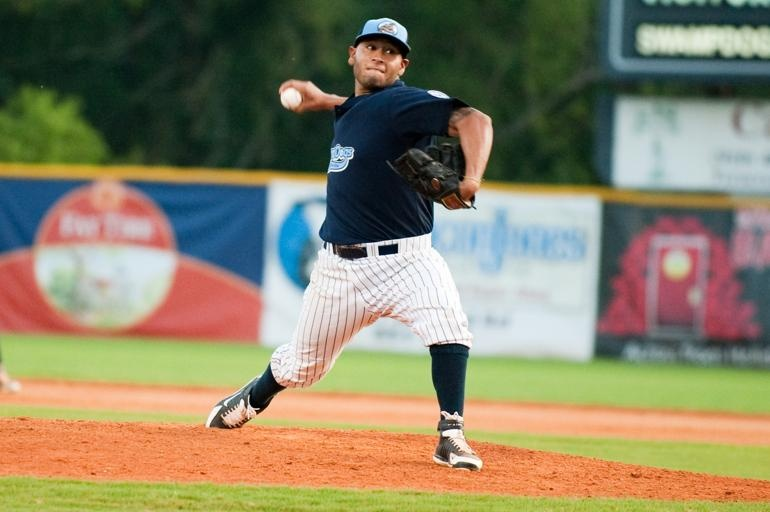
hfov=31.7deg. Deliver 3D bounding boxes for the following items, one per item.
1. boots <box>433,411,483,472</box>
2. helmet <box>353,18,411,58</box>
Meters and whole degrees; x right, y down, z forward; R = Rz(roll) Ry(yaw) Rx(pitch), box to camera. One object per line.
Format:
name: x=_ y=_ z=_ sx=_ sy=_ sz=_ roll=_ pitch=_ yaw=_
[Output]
boots: x=0.778 y=2.021 z=14.912 sx=0.316 sy=0.617 sz=0.777 roll=6 pitch=-1 yaw=-32
helmet: x=-0.034 y=-2.480 z=15.135 sx=0.551 sy=0.390 sz=0.688 roll=4 pitch=-9 yaw=-1
